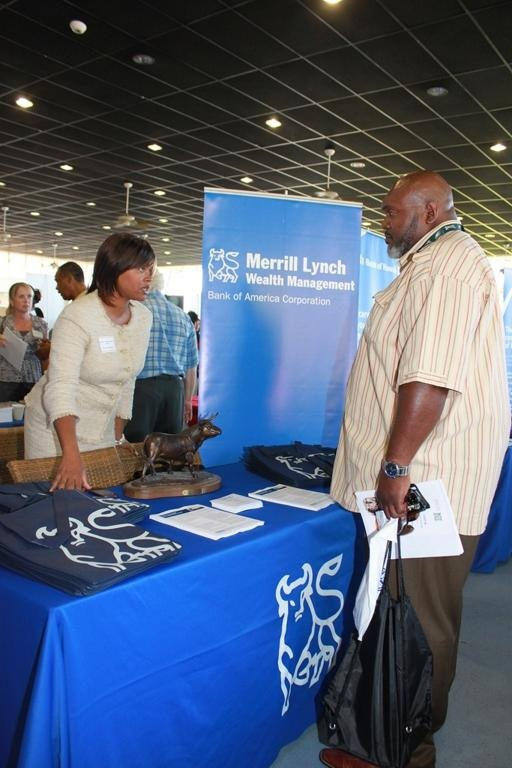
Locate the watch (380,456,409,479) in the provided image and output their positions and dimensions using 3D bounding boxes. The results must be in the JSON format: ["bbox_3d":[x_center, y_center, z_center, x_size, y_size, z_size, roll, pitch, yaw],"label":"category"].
[{"bbox_3d":[0.293,0.183,1.131,0.052,0.032,0.054,-4,3,-41],"label":"watch"}]
